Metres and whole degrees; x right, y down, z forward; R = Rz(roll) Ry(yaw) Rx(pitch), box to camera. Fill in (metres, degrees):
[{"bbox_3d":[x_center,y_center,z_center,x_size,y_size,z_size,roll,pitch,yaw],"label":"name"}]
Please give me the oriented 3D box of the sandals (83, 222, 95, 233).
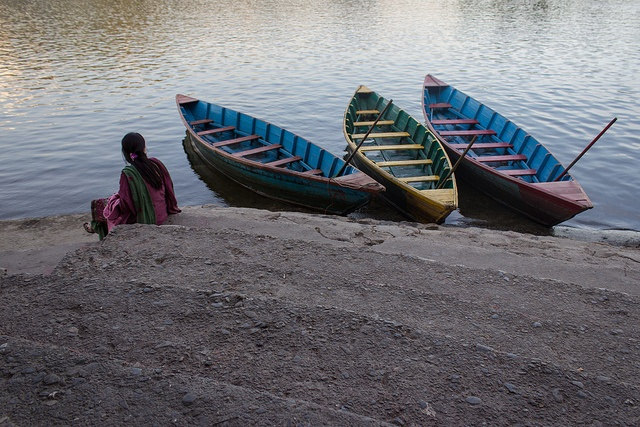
[{"bbox_3d":[-4.878,0.300,10.584,0.151,0.120,0.379,-14,32,-39],"label":"sandals"}]
